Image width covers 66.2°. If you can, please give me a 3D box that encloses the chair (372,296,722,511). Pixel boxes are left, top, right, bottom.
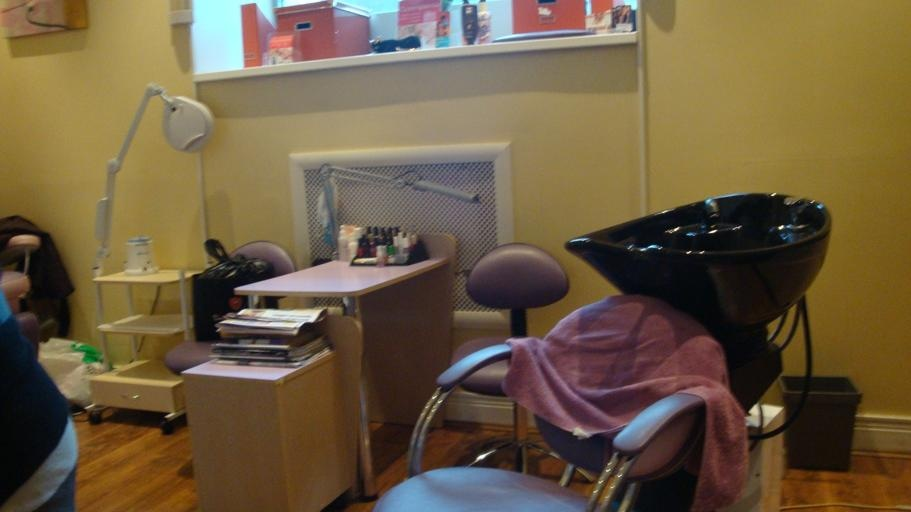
[{"bbox_3d":[0.055,0.618,3.565,0.856,0.874,1.030,2,1,-27],"label":"chair"}]

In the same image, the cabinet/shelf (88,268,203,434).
[{"bbox_3d":[-2.025,0.569,4.762,0.819,0.959,0.781,-1,8,0],"label":"cabinet/shelf"}]

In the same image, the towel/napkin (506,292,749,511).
[{"bbox_3d":[0.753,0.761,3.367,1.129,0.446,0.958,2,45,15],"label":"towel/napkin"}]

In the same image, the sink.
[{"bbox_3d":[1.110,-0.011,3.186,0.925,0.335,0.753,5,25,41],"label":"sink"}]

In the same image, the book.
[{"bbox_3d":[-0.985,0.427,3.660,0.409,0.132,0.381,0,9,10],"label":"book"}]
